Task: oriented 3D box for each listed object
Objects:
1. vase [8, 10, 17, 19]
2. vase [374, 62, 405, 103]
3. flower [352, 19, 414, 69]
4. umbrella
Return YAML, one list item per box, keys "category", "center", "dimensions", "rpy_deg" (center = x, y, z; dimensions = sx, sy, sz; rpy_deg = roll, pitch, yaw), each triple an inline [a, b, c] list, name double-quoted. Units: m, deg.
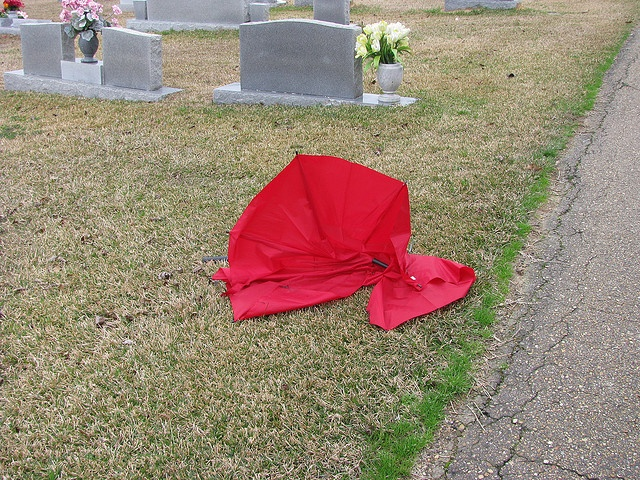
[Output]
- category: "vase"
  center: [-10.260, -7.525, 21.662]
  dimensions: [0.310, 0.223, 0.309]
  rpy_deg: [0, 10, -6]
- category: "vase"
  center: [1.119, -2.576, 10.592]
  dimensions: [0.540, 0.798, 0.566]
  rpy_deg: [-5, 22, -8]
- category: "flower"
  center: [1.005, -3.109, 10.477]
  dimensions: [0.827, 0.669, 0.821]
  rpy_deg: [-21, 23, -31]
- category: "umbrella"
  center: [0.161, 0.205, 5.850]
  dimensions: [2.072, 0.700, 1.825]
  rpy_deg: [35, 49, 21]
